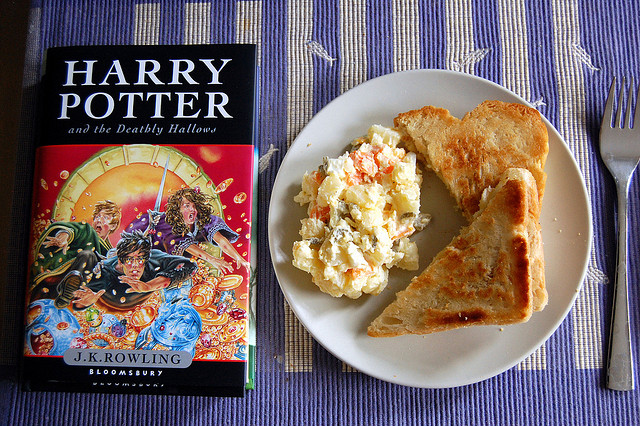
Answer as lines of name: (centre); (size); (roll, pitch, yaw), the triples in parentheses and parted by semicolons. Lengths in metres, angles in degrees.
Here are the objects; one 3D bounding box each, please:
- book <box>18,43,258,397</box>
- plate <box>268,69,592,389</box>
book: (-0.720, 0.008, 2.756); (0.908, 0.148, 1.360); (1, 84, -1)
plate: (0.418, 0.111, 2.713); (1.022, 0.162, 1.231); (0, 92, 0)
